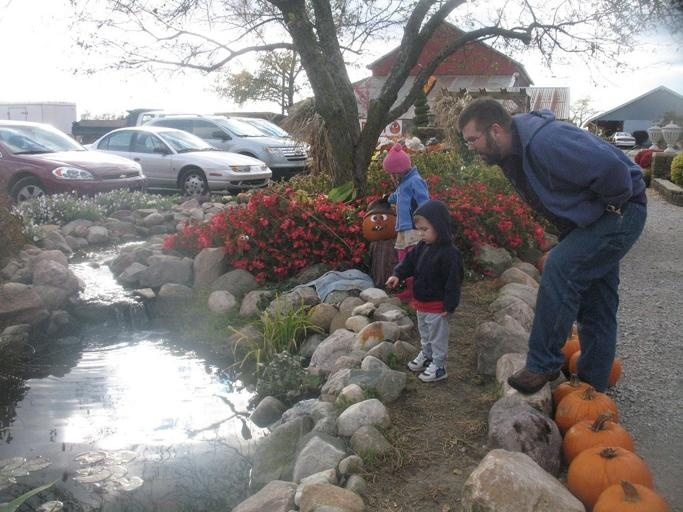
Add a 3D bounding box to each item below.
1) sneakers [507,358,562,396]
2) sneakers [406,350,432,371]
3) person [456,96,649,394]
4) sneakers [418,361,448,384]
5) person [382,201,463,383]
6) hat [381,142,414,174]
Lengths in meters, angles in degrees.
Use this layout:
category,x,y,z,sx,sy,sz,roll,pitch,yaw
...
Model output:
category,x,y,z,sx,sy,sz,roll,pitch,yaw
sneakers,1.475,0.957,4.137,0.410,0.187,0.197,-15,38,-4
sneakers,0.743,1.013,5.138,0.254,0.181,0.122,1,2,12
person,1.635,-0.039,4.064,1.210,2.337,0.703,3,15,25
sneakers,0.838,1.074,4.909,0.272,0.174,0.131,-1,11,0
person,0.795,0.307,4.885,0.451,1.623,0.644,-16,18,-41
hat,0.650,-1.173,6.399,0.345,0.360,0.348,10,38,24
